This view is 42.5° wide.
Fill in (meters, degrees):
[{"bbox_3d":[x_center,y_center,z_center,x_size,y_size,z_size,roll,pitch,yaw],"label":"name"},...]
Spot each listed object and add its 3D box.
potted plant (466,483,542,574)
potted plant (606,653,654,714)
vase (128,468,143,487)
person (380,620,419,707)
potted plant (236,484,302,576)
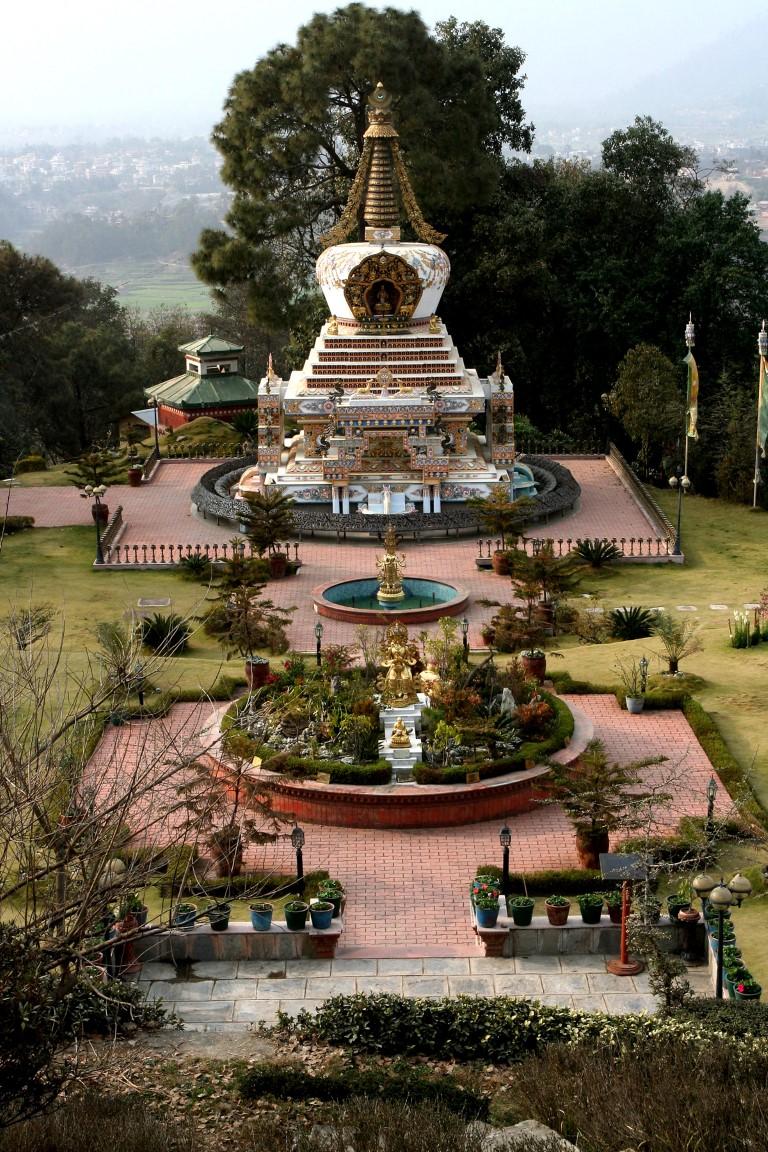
[{"bbox_3d":[3.915,-1.300,29.677,2.666,3.328,2.403,-1,15,1],"label":"potted plant"},{"bbox_3d":[5.063,2.266,20.688,1.073,1.448,0.995,0,1,-42],"label":"potted plant"},{"bbox_3d":[-9.676,-3.885,38.878,0.699,0.620,0.681,12,15,43],"label":"vase"},{"bbox_3d":[0.276,1.715,18.892,0.739,1.532,0.504,-1,-7,-17],"label":"person"},{"bbox_3d":[-3.268,-1.236,28.841,1.405,2.809,2.343,-3,-7,-5],"label":"potted plant"}]
